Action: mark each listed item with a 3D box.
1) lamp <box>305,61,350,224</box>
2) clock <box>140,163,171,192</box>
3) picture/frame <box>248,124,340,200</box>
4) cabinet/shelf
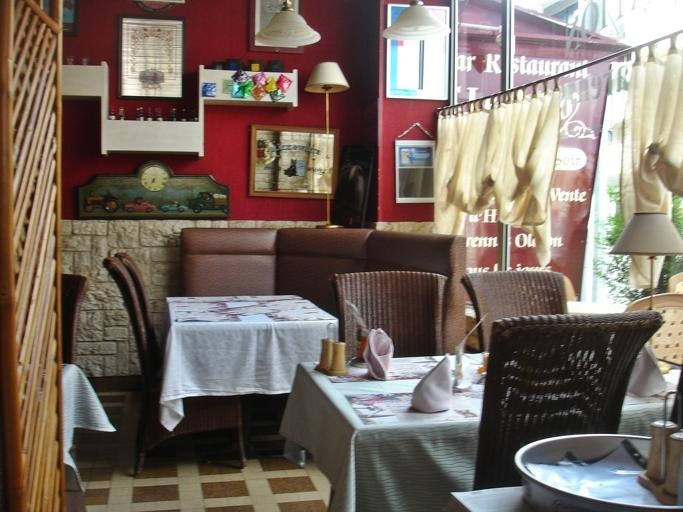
[{"bbox_3d":[-0.142,-0.982,5.473,0.379,1.466,0.725,1,7,-1],"label":"lamp"},{"bbox_3d":[-1.613,-0.677,5.390,0.227,0.251,0.037,-2,8,-20],"label":"clock"},{"bbox_3d":[-0.439,-0.852,5.689,0.974,0.657,0.037,-5,14,-39],"label":"picture/frame"},{"bbox_3d":[-1.337,-1.233,5.257,2.181,0.730,0.267,6,20,17],"label":"cabinet/shelf"}]
